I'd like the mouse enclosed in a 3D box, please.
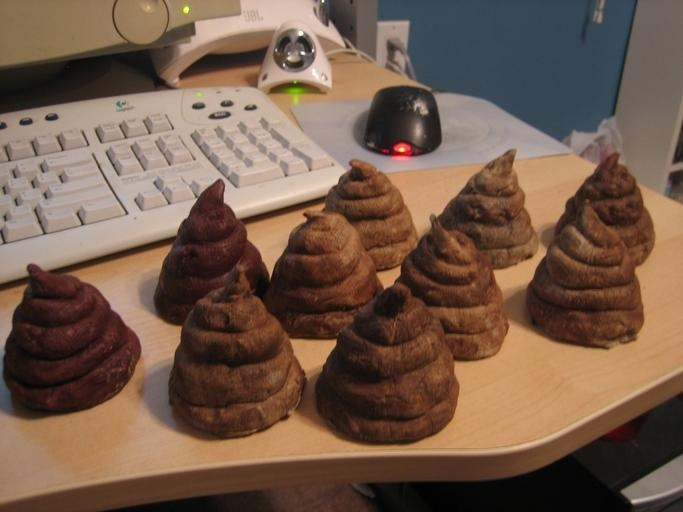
[{"bbox_3d":[0.125,-0.352,1.450,0.182,0.158,0.252,0,27,0],"label":"mouse"}]

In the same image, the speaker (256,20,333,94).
[{"bbox_3d":[-0.149,-0.591,1.671,0.235,0.334,0.083,-1,5,-5],"label":"speaker"}]
